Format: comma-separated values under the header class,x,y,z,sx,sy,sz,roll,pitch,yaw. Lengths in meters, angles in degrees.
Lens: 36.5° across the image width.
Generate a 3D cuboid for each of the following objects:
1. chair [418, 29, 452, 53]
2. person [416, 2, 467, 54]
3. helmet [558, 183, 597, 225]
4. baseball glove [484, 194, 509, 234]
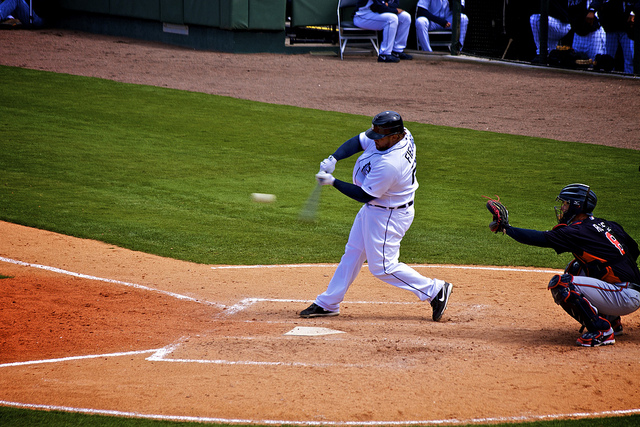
class,x,y,z,sx,sy,sz,roll,pitch,yaw
chair,3.225,-4.925,27.216,0.973,0.678,0.650,0,1,-2
person,3.149,-5.160,26.762,1.000,1.323,0.773,4,18,9
helmet,3.513,-0.118,13.294,0.629,0.449,0.425,-4,4,9
baseball glove,2.402,-0.100,13.200,0.117,0.215,0.240,18,16,-30
